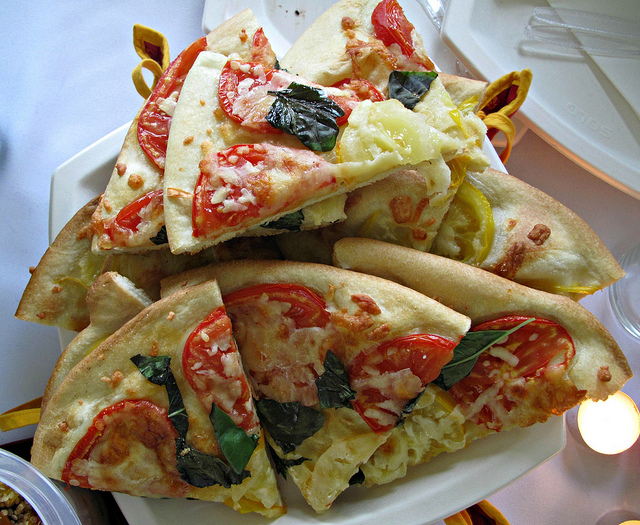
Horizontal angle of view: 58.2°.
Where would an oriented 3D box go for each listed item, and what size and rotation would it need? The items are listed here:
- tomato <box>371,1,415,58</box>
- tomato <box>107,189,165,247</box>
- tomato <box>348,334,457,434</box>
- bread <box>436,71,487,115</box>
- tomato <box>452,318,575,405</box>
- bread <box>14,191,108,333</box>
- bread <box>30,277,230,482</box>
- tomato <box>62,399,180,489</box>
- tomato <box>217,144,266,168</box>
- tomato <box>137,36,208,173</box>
[{"bbox_3d":[0.223,-0.719,1.754,0.130,0.086,0.186,1,53,-5],"label":"tomato"},{"bbox_3d":[-0.525,-0.124,1.637,0.176,0.110,0.114,-13,57,-14],"label":"tomato"},{"bbox_3d":[0.214,0.334,1.696,0.196,0.316,0.285,37,60,17],"label":"tomato"},{"bbox_3d":[0.426,-0.523,1.798,0.156,0.085,0.135,19,55,9],"label":"bread"},{"bbox_3d":[0.538,0.285,1.697,0.340,0.068,0.195,-25,91,5],"label":"tomato"},{"bbox_3d":[-0.848,0.044,1.889,0.242,0.062,0.396,-30,38,-5],"label":"bread"},{"bbox_3d":[-0.555,0.322,1.656,0.623,0.138,0.529,3,84,6],"label":"bread"},{"bbox_3d":[-0.564,0.489,1.630,0.318,0.166,0.160,0,56,-5],"label":"tomato"},{"bbox_3d":[-0.219,-0.294,1.578,0.127,0.029,0.068,-4,54,-9],"label":"tomato"},{"bbox_3d":[-0.414,-0.485,1.803,0.236,0.067,0.375,21,87,21],"label":"tomato"}]
